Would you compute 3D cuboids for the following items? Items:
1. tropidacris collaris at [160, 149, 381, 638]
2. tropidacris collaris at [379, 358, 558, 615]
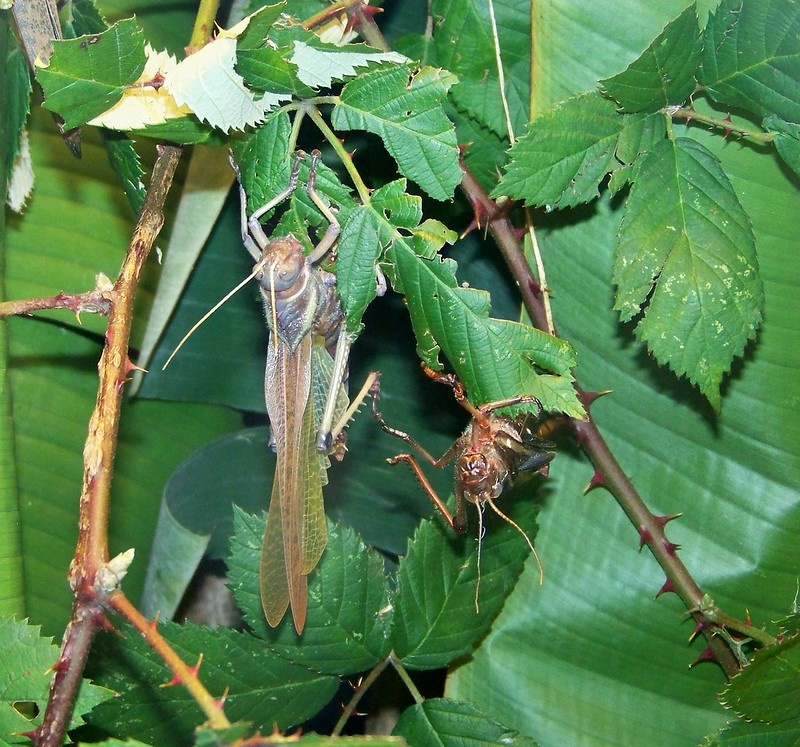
[{"bbox_3d":[-0.130,0.043,1.303,0.198,0.522,0.349,7,-17,-1],"label":"tropidacris collaris"},{"bbox_3d":[0.093,0.125,1.281,0.078,0.273,0.198,-28,-52,34],"label":"tropidacris collaris"}]
